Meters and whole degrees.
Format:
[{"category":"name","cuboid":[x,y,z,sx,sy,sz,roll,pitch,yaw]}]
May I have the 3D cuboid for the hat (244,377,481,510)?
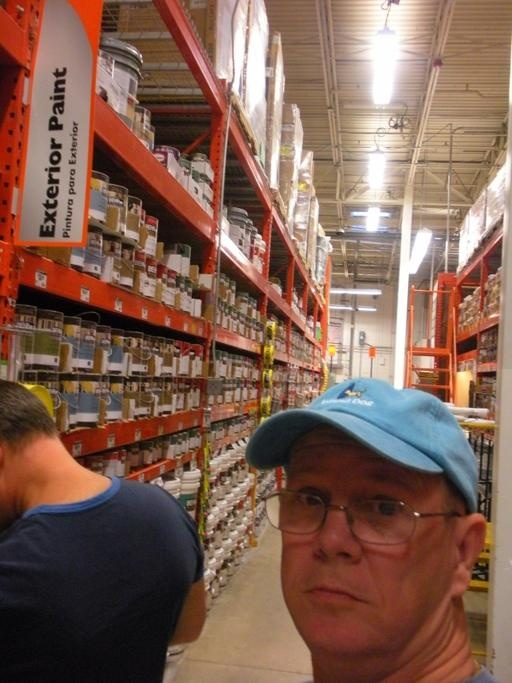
[{"category":"hat","cuboid":[0.159,0.114,0.707,0.287,0.126,0.203,21,-21,-27]}]
